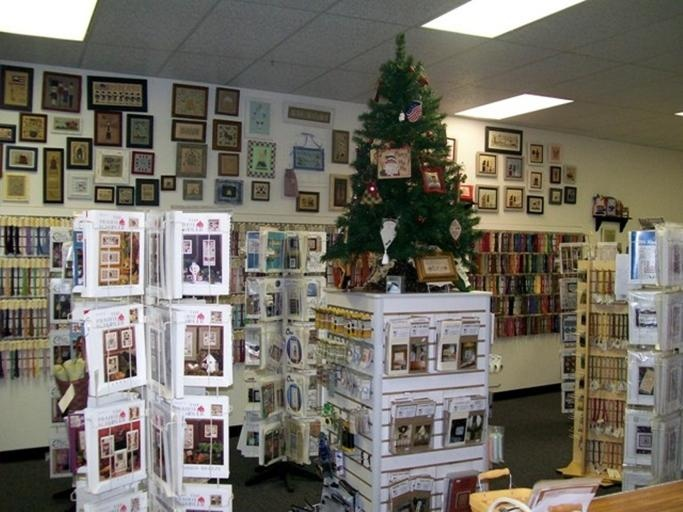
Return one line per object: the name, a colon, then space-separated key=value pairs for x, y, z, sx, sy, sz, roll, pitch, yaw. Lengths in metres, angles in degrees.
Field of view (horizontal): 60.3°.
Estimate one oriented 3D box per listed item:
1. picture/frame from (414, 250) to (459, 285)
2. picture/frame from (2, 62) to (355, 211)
picture/frame: x=0.818 y=0.104 z=5.213 sx=0.303 sy=0.220 sz=0.029 roll=0 pitch=-16 yaw=-24
picture/frame: x=-1.605 y=-1.452 z=7.942 sx=4.150 sy=1.553 sz=0.138 roll=-2 pitch=-1 yaw=-23
